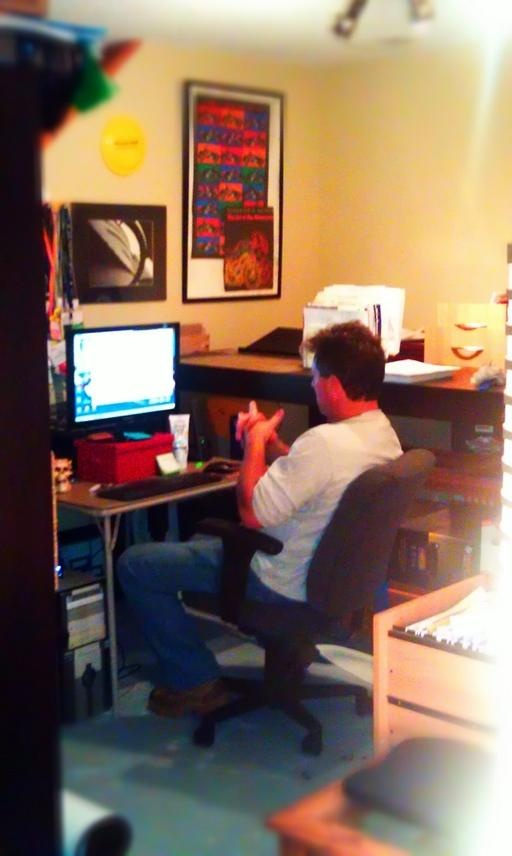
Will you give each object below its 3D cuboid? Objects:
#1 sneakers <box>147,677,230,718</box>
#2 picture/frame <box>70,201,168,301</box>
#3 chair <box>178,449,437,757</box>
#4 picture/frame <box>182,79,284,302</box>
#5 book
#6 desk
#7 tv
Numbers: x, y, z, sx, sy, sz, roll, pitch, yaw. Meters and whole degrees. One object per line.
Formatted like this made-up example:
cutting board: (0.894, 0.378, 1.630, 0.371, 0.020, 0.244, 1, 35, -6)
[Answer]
sneakers: (-0.193, 0.783, 1.945, 0.183, 0.047, 0.106, -8, 16, -11)
picture/frame: (-0.540, -0.694, 2.591, 0.413, 0.405, 0.031, -11, 18, -43)
chair: (0.224, 0.409, 2.117, 0.718, 1.141, 0.718, 5, 3, 29)
picture/frame: (-0.096, -0.861, 2.710, 0.418, 0.707, 0.743, 2, 7, 1)
book: (0.350, -0.299, 2.007, 0.392, 0.142, 0.295, 2, 15, 14)
desk: (-0.265, 0.469, 1.922, 0.263, 0.449, 0.667, 7, 14, 31)
tv: (-0.434, -0.155, 2.154, 0.036, 0.274, 0.352, 6, 10, 37)
